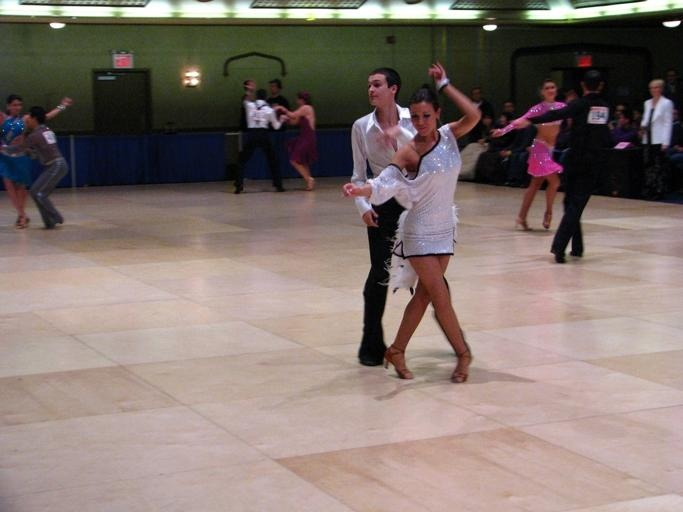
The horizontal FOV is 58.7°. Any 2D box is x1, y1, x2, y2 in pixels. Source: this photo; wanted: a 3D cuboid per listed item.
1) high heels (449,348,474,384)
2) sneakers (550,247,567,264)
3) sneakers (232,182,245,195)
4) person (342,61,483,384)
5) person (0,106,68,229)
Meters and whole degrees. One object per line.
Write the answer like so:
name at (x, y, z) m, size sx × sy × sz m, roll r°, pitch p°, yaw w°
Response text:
high heels at (0.849, 0.797, 4.315) m, size 0.105 × 0.114 × 0.292 m, roll -3°, pitch 20°, yaw 21°
sneakers at (2.977, -0.021, 8.344) m, size 0.209 × 0.219 × 0.294 m, roll 3°, pitch 12°, yaw 18°
sneakers at (-2.820, -1.793, 16.525) m, size 0.197 × 0.191 × 0.516 m, roll 1°, pitch -2°, yaw -3°
person at (0.543, -0.198, 4.202) m, size 0.945 × 2.220 × 0.431 m, roll -4°, pitch 14°, yaw -12°
person at (-5.762, -1.638, 11.398) m, size 0.860 × 2.242 × 0.901 m, roll 3°, pitch 13°, yaw 15°
